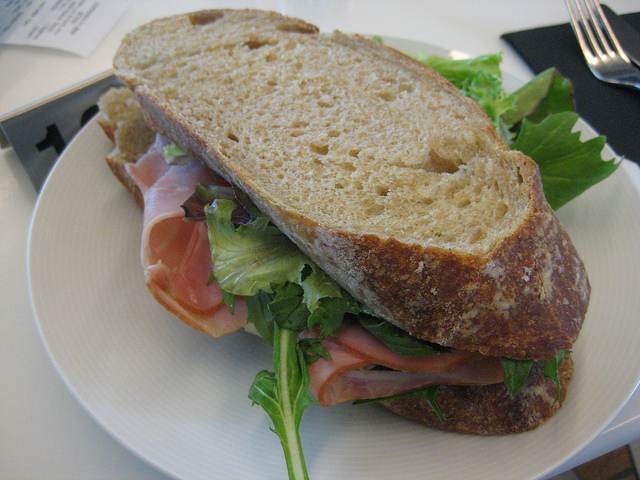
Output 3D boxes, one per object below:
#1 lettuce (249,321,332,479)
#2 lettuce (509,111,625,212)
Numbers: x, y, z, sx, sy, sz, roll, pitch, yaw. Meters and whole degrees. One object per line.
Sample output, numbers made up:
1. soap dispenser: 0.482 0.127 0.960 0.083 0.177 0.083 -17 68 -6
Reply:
1. lettuce: -0.100 0.492 2.138 0.184 0.041 0.575 -2 56 -6
2. lettuce: 0.914 -0.298 2.460 0.378 0.402 0.115 12 8 24
